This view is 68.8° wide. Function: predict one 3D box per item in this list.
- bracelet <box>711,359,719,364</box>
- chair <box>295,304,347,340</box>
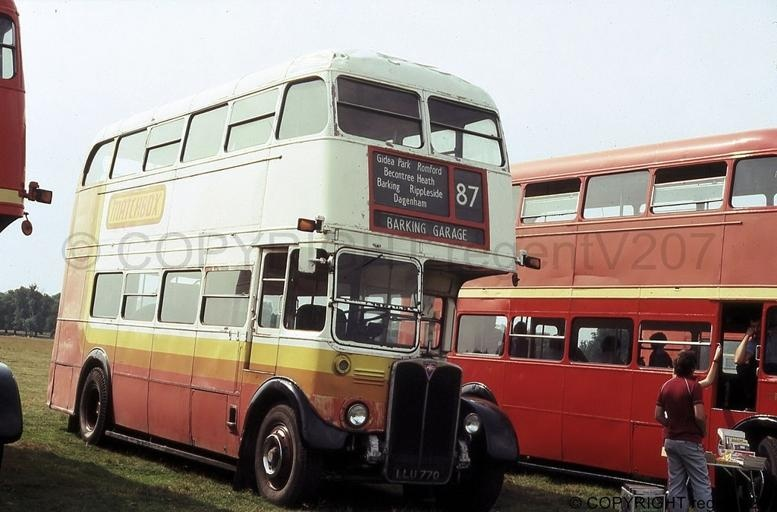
[{"bbox_3d":[5.419,1.734,9.364,0.104,0.035,0.107,-6,1,-1],"label":"bracelet"},{"bbox_3d":[-1.076,0.868,7.828,0.320,0.411,0.588,14,-13,-11],"label":"chair"}]
